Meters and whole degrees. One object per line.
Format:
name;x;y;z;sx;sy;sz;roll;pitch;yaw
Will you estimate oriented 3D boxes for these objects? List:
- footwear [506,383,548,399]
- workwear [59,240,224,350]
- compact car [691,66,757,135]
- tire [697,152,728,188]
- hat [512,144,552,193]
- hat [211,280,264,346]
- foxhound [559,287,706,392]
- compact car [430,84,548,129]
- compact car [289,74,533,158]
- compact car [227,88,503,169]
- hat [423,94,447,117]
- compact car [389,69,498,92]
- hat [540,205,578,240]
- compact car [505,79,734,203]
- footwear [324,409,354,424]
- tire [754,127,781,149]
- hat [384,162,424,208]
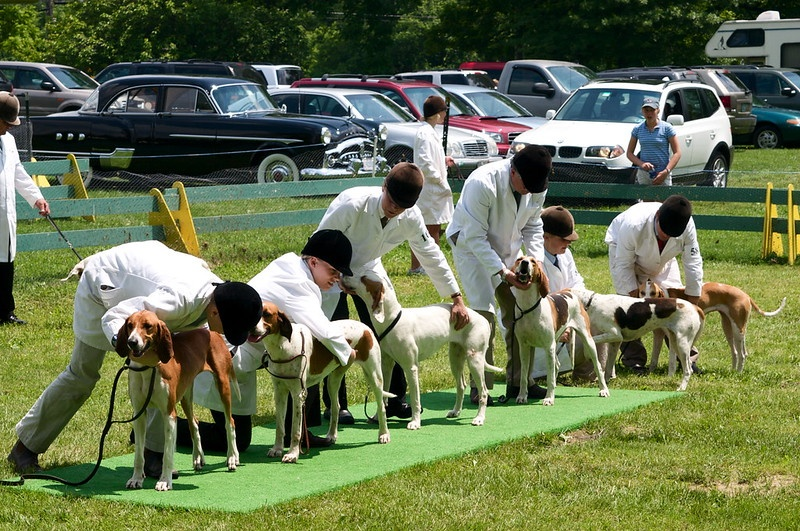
footwear;1.595;1.534;14.376;0.549;0.244;0.192;-4;11;-6
workwear;-2.732;0.237;12.409;1.591;1.062;1.271;8;14;23
compact car;8.926;-4.431;30.636;2.825;1.535;1.420;8;13;39
tire;6.263;-1.940;23.148;0.341;0.952;0.923;-8;-8;31
hat;1.603;-1.175;13.561;0.411;0.570;0.354;-6;-10;-21
hat;-1.681;0.495;11.998;0.320;0.660;0.468;-7;-3;40
foxhound;2.837;0.953;14.684;1.977;1.257;0.562;1;6;-3
compact car;2.168;-3.639;26.834;2.302;0.959;1.154;8;13;36
compact car;0.464;-2.949;26.144;5.148;1.982;2.244;11;14;25
compact car;-0.467;-3.146;24.112;4.777;1.733;2.105;6;10;25
hat;0.577;-2.595;18.600;0.292;0.244;0.387;0;19;25
compact car;1.008;-4.971;30.277;2.106;0.961;1.116;4;10;34
hat;2.042;-0.572;14.491;0.530;0.360;0.431;18;19;28
compact car;4.800;-2.532;23.164;2.322;1.940;4.118;4;5;41
footwear;-0.726;1.827;13.830;0.145;0.169;0.394;-4;4;-37
tire;9.977;-3.504;31.100;0.548;0.585;0.202;7;6;37
hat;0.052;-0.884;12.834;0.358;0.514;0.304;12;-39;-17
